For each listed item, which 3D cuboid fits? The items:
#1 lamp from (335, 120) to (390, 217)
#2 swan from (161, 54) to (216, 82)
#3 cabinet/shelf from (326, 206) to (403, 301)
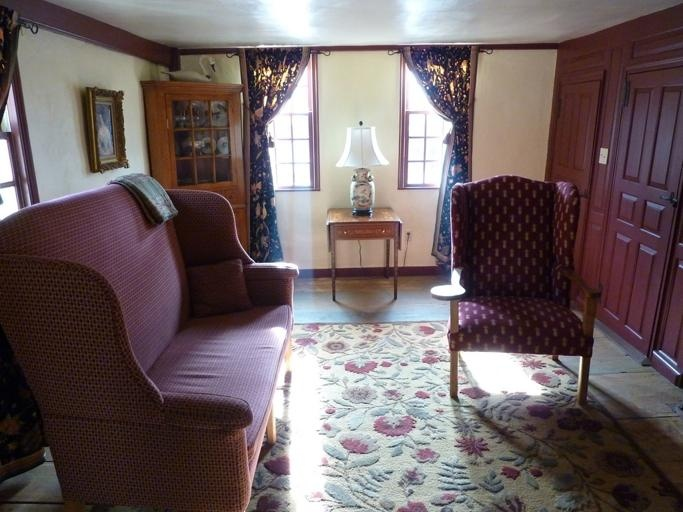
[{"bbox_3d":[0.200,-0.879,5.139,0.471,0.878,0.506,-1,16,1],"label":"lamp"},{"bbox_3d":[-1.451,-1.794,4.914,0.380,0.261,0.491,0,15,5],"label":"swan"},{"bbox_3d":[0.189,-0.116,5.210,0.877,1.080,0.895,-1,18,1],"label":"cabinet/shelf"}]
